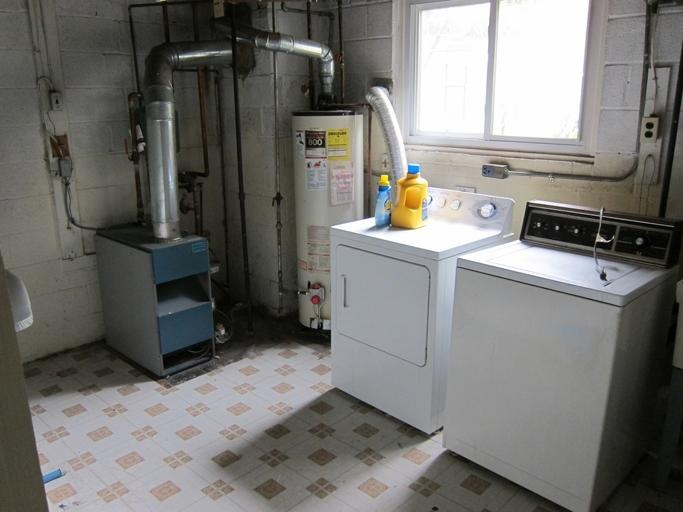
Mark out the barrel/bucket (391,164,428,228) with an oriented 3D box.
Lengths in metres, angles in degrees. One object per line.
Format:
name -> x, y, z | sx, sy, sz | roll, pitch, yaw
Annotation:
barrel/bucket -> 0.442, -0.383, 3.371 | 0.229, 0.374, 0.212 | 0, 20, 0

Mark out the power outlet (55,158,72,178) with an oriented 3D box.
power outlet -> -1.997, -0.634, 3.793 | 0.110, 0.145, 0.060 | -18, 26, -37
